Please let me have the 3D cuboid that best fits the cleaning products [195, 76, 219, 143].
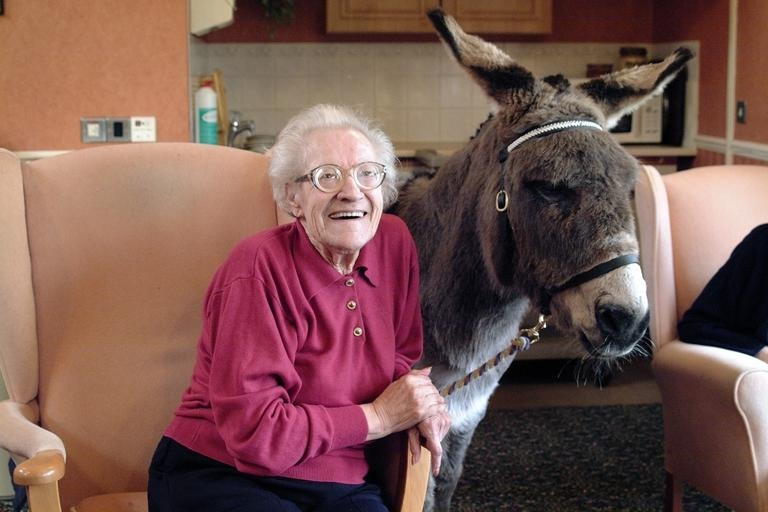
[{"bbox_3d":[-0.988,-0.762,3.778,0.100,0.463,0.106,-2,-17,-12],"label":"cleaning products"}]
